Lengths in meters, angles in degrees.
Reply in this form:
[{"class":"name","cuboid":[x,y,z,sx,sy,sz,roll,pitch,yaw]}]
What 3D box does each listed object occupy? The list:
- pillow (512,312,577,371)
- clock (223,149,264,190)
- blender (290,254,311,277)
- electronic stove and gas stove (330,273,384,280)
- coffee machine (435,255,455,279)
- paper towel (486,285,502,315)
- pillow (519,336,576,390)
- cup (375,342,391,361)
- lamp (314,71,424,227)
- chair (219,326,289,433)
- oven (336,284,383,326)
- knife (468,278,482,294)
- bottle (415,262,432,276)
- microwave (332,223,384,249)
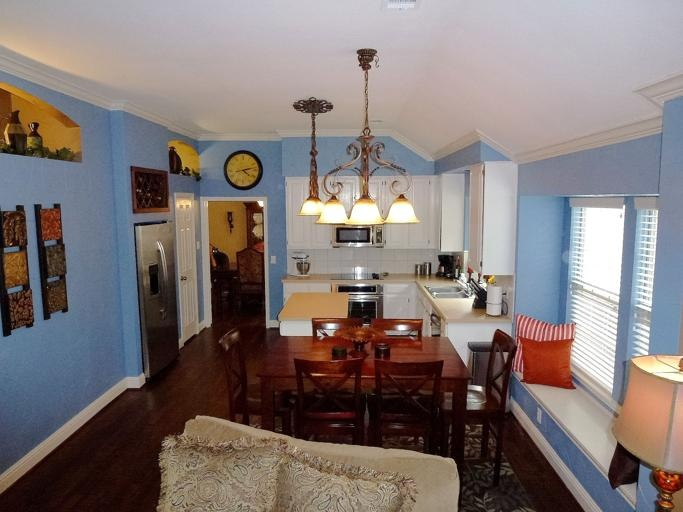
[{"class":"pillow","cuboid":[1.915,0.829,4.695,0.519,0.549,0.202,-5,-25,41]},{"class":"clock","cuboid":[-1.557,-1.363,7.904,0.599,0.606,0.603,2,8,8]},{"class":"blender","cuboid":[-0.640,0.123,7.849,0.307,0.355,0.359,0,11,-3]},{"class":"electronic stove and gas stove","cuboid":[0.241,0.299,7.769,0.736,0.068,0.558,1,10,6]},{"class":"coffee machine","cuboid":[1.608,0.158,7.579,0.227,0.328,0.367,-1,11,-7]},{"class":"paper towel","cuboid":[1.681,0.475,5.434,0.185,0.331,0.159,0,11,0]},{"class":"pillow","cuboid":[1.907,0.991,4.596,0.513,0.496,0.191,-3,-2,21]},{"class":"cup","cuboid":[0.337,0.807,4.217,0.111,0.124,0.110,1,11,0]},{"class":"lamp","cuboid":[0.202,-1.015,3.984,0.887,1.473,0.863,0,6,8]},{"class":"chair","cuboid":[-0.602,1.088,4.379,0.491,0.877,0.578,-22,-16,37]},{"class":"oven","cuboid":[0.268,0.812,7.527,0.707,0.630,0.498,4,-28,-13]},{"class":"knife","cuboid":[1.682,0.373,6.347,0.125,0.085,0.323,22,9,-1]},{"class":"bottle","cuboid":[1.279,0.213,7.792,0.288,0.221,0.153,-1,5,-5]},{"class":"microwave","cuboid":[0.265,-0.309,7.600,0.819,0.321,0.139,0,11,-1]}]
